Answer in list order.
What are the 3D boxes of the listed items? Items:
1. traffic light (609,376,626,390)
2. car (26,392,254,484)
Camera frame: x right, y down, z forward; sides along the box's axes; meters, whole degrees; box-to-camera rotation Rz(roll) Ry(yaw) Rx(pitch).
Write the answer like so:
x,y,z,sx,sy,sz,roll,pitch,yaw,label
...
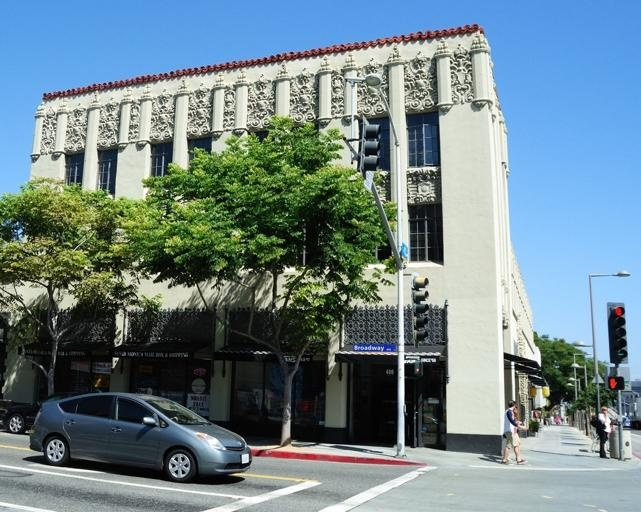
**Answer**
x,y,z,sx,sy,sz,roll,pitch,yaw,label
10.975,4.709,24.433,0.510,0.539,0.662,4,-9,-5,traffic light
-4.507,4.416,16.290,5.356,1.921,0.867,0,-9,17,car
